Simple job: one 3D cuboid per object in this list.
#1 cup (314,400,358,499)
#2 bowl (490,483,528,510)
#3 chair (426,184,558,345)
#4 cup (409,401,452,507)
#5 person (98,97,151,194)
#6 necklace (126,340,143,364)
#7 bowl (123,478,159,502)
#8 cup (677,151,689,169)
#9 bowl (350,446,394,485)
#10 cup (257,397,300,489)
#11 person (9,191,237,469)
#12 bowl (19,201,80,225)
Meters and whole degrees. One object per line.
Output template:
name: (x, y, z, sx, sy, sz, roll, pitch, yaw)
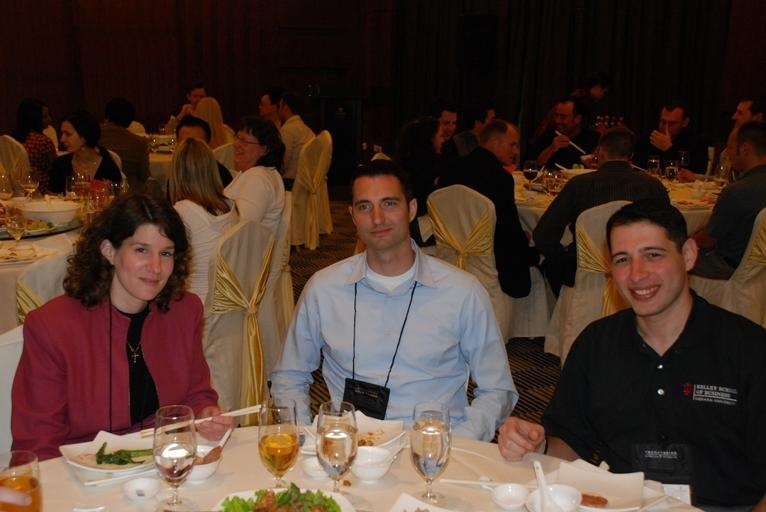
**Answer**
cup: (-0.129, 0.541, 1.615, 0.107, 0.249, 0.216, -1, 8, -7)
bowl: (0.350, 0.668, 1.593, 0.095, 0.042, 0.084, 2, 8, 15)
chair: (0.770, 0.024, 3.963, 0.767, 1.257, 0.703, 19, 33, 42)
cup: (0.133, 0.531, 1.619, 0.103, 0.182, 0.193, 0, 8, 5)
person: (-3.032, -1.106, 6.670, 0.644, 1.379, 0.708, -2, 23, -23)
necklace: (-0.927, 0.363, 2.170, 0.055, 0.085, 0.025, -1, -2, -22)
bowl: (-0.662, 0.648, 1.601, 0.097, 0.041, 0.059, -1, 8, -4)
cup: (3.048, -0.997, 5.872, 0.084, 0.155, 0.183, 3, 9, 26)
bowl: (-0.021, 0.604, 1.666, 0.095, 0.044, 0.111, -21, 5, -39)
cup: (-0.291, 0.530, 1.644, 0.106, 0.248, 0.207, -2, 8, -10)
person: (-0.968, 0.214, 2.598, 0.864, 1.368, 0.879, 5, 6, 44)
bowl: (-2.163, -0.297, 3.848, 0.260, 0.107, 0.276, 2, 7, 0)
